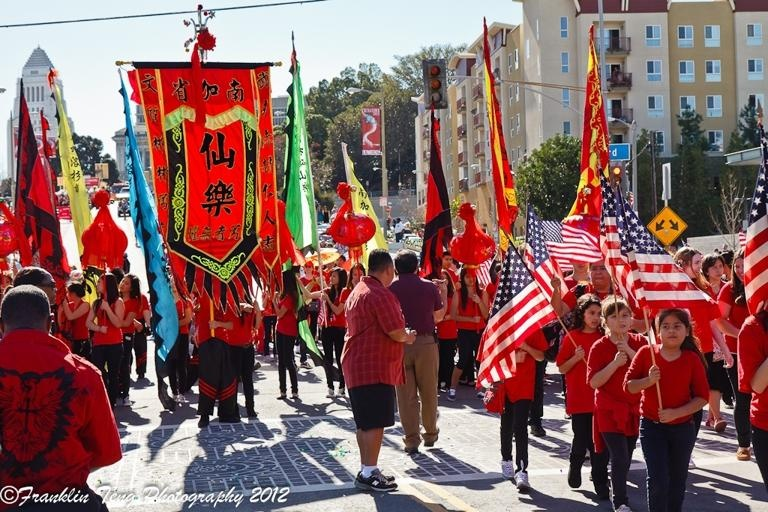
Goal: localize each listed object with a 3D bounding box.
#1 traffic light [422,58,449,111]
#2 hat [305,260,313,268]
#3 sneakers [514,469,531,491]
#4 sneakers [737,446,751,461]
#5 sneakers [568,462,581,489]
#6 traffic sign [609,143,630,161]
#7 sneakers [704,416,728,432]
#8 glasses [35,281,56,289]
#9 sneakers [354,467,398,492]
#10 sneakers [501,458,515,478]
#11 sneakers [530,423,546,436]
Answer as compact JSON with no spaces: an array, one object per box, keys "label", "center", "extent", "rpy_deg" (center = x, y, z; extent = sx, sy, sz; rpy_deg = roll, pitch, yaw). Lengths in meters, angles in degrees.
[{"label":"traffic light","center":[1.070,-3.625,18.903],"extent":[0.492,1.098,0.257],"rpy_deg":[-2,33,6]},{"label":"hat","center":[-1.702,0.198,19.888],"extent":[0.136,0.103,0.222],"rpy_deg":[-35,-15,8]},{"label":"sneakers","center":[1.655,2.696,10.701],"extent":[0.160,0.220,0.197],"rpy_deg":[0,2,9]},{"label":"sneakers","center":[4.706,2.597,11.694],"extent":[0.117,0.141,0.204],"rpy_deg":[-1,-9,10]},{"label":"sneakers","center":[2.274,2.654,10.698],"extent":[0.109,0.333,0.125],"rpy_deg":[-3,-3,4]},{"label":"traffic sign","center":[6.017,-2.673,22.849],"extent":[0.469,0.460,1.552],"rpy_deg":[0,2,12]},{"label":"sneakers","center":[4.865,2.503,13.149],"extent":[0.124,0.130,0.349],"rpy_deg":[-17,-12,-14]},{"label":"glasses","center":[-3.880,0.333,10.172],"extent":[0.170,0.062,0.175],"rpy_deg":[-3,0,5]},{"label":"sneakers","center":[-0.101,2.669,10.697],"extent":[0.510,0.263,0.225],"rpy_deg":[3,2,4]},{"label":"sneakers","center":[1.528,2.652,11.047],"extent":[0.158,0.240,0.142],"rpy_deg":[0,2,9]},{"label":"sneakers","center":[2.264,2.579,13.182],"extent":[0.114,0.145,0.305],"rpy_deg":[0,6,2]}]
